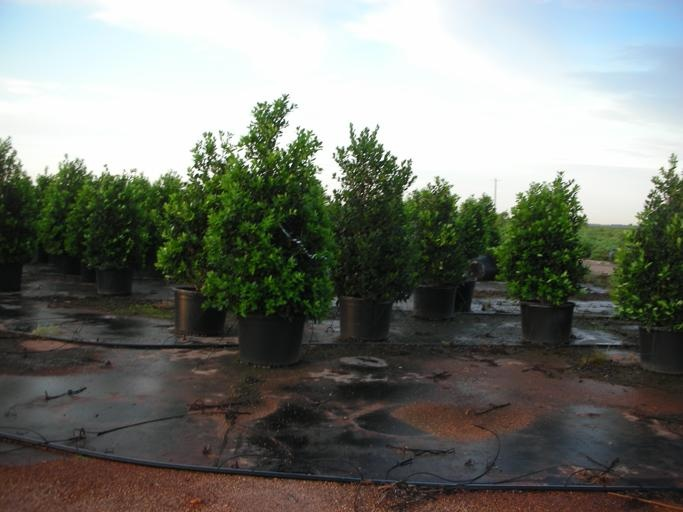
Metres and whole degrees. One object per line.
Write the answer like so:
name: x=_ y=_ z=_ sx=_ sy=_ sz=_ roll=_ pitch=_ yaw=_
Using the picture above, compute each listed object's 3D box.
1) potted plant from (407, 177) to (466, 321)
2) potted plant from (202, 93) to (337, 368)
potted plant: x=2.682 y=-0.141 z=13.009 sx=1.440 sy=3.714 sz=1.378 roll=1 pitch=5 yaw=6
potted plant: x=-1.170 y=-0.183 z=7.827 sx=2.041 sy=3.926 sz=1.036 roll=1 pitch=5 yaw=-3
